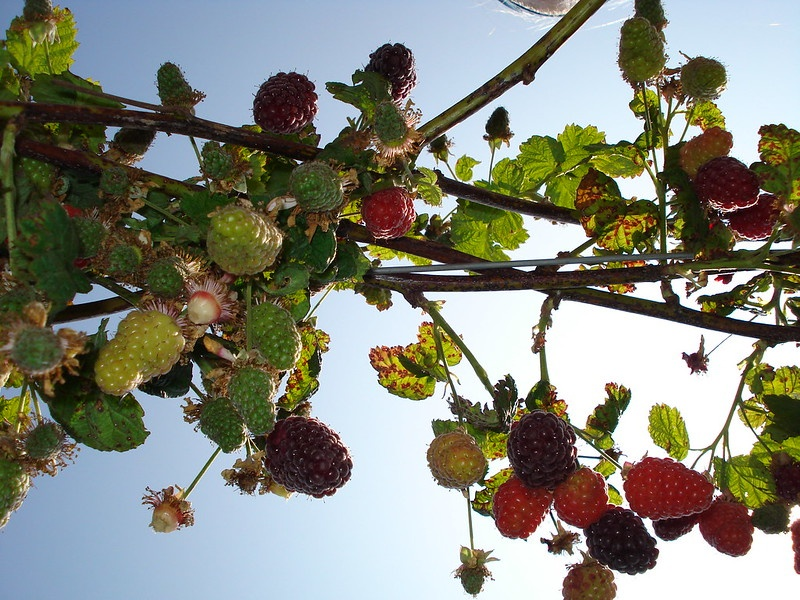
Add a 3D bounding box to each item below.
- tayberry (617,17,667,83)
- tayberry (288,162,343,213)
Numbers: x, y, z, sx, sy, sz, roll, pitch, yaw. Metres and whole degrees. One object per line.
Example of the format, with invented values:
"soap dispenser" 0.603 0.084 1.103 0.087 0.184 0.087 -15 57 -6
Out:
"tayberry" 0.529 -0.543 1.677 0.092 0.046 0.122 -1 -83 0
"tayberry" -0.161 -0.216 1.484 0.099 0.076 0.098 -10 -83 2
